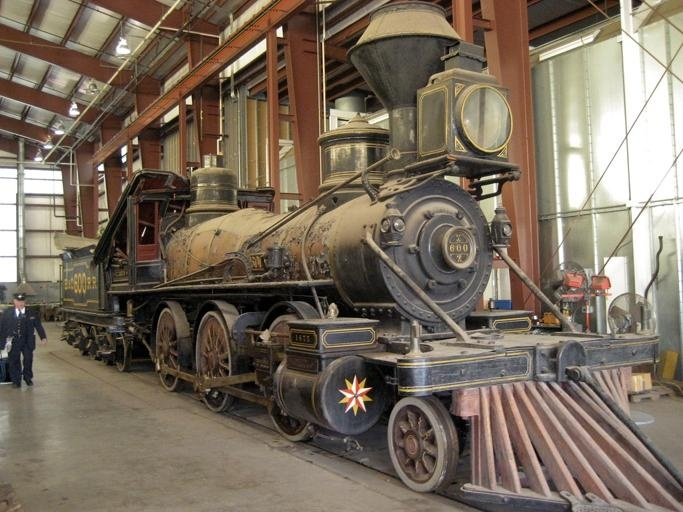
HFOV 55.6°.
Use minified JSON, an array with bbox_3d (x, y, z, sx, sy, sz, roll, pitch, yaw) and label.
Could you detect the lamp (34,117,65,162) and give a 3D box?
[{"bbox_3d":[-18.027,-7.252,39.751,0.644,1.205,3.523,16,-35,-33],"label":"lamp"}]
